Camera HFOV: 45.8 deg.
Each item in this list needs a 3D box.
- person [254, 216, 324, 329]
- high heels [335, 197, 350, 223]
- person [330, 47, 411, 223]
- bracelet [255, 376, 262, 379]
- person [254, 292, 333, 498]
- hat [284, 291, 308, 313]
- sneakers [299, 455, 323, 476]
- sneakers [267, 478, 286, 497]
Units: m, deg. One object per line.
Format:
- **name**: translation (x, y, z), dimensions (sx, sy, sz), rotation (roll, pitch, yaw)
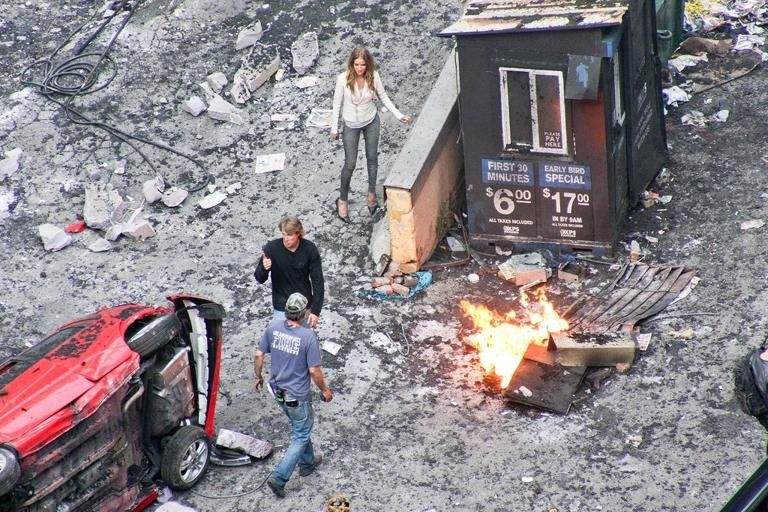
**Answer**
- **person**: translation (-1.081, 0.549, 10.485), dimensions (0.831, 1.955, 0.716), rotation (0, 17, -3)
- **high heels**: translation (-0.587, -0.636, 12.794), dimensions (0.124, 0.165, 0.391), rotation (-4, 50, -7)
- **person**: translation (-0.281, -1.616, 12.386), dimensions (0.874, 2.399, 0.454), rotation (-2, 28, -4)
- **bracelet**: translation (-1.383, 1.314, 9.967), dimensions (0.054, 0.014, 0.053), rotation (2, 8, 0)
- **person**: translation (-0.977, 1.465, 9.773), dimensions (0.792, 2.085, 0.873), rotation (-4, 29, -9)
- **hat**: translation (-0.923, 0.478, 9.583), dimensions (0.189, 0.153, 0.260), rotation (7, 28, 12)
- **sneakers**: translation (-0.815, 2.307, 10.060), dimensions (0.113, 0.135, 0.322), rotation (31, 56, 24)
- **sneakers**: translation (-1.149, 2.451, 9.846), dimensions (0.127, 0.275, 0.123), rotation (-15, 23, 28)
